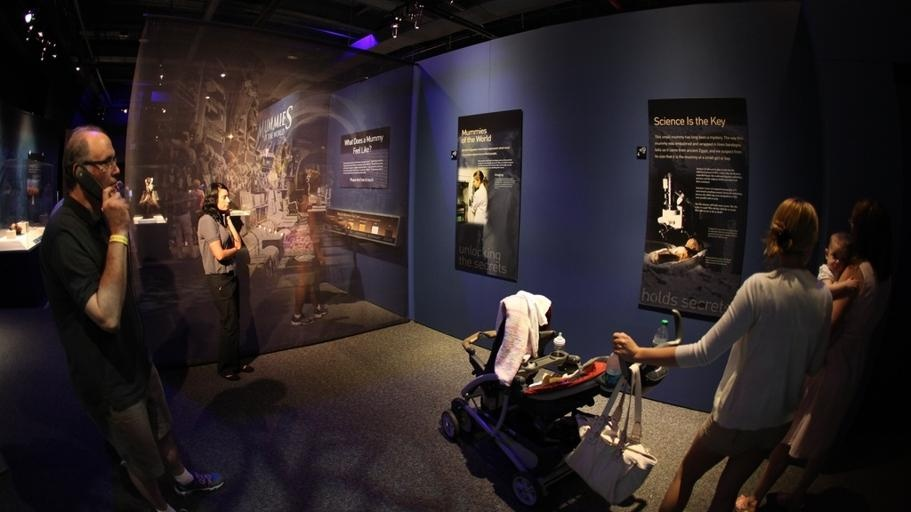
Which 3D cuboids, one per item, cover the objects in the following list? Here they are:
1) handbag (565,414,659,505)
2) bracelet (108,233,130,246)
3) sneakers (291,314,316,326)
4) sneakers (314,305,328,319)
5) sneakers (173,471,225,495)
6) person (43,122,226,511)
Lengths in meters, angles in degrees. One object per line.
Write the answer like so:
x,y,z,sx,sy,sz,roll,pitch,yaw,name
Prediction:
1.639,2.230,5.715,0.872,0.831,0.450,29,-6,29,handbag
-3.293,-0.158,5.145,0.156,0.113,0.136,-3,10,-28,bracelet
-2.445,1.016,8.431,0.303,0.133,0.136,-4,7,-33,sneakers
-2.203,0.898,8.603,0.109,0.128,0.303,2,8,2,sneakers
-2.899,2.565,5.962,0.458,0.172,0.231,-4,7,-25,sneakers
-3.465,0.763,5.373,1.124,4.054,0.593,1,9,-3,person
